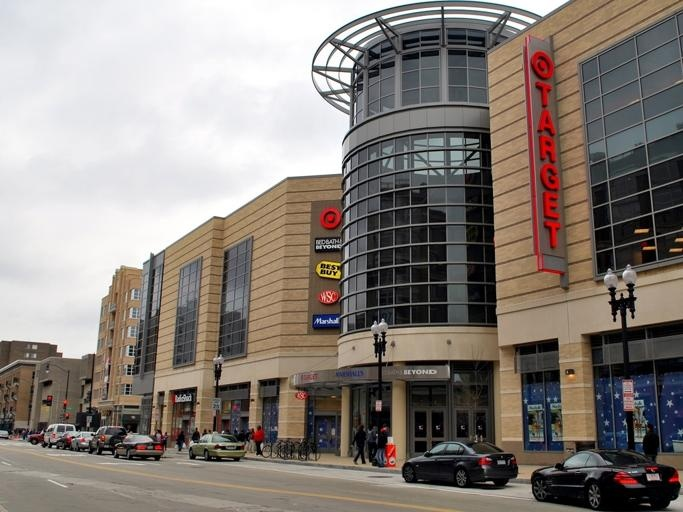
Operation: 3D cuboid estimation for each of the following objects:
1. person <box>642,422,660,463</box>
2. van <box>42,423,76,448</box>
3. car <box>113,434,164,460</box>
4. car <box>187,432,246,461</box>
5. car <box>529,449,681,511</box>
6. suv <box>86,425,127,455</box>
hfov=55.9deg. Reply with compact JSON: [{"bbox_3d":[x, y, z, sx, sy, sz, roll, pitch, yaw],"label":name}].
[{"bbox_3d":[11.508,7.178,23.886,0.692,1.850,0.699,5,14,26],"label":"person"},{"bbox_3d":[-27.346,17.584,61.701,2.719,2.054,4.901,4,-10,-27],"label":"van"},{"bbox_3d":[-12.862,12.126,40.857,1.776,1.639,3.580,16,-26,-36],"label":"car"},{"bbox_3d":[-7.958,12.216,41.306,1.426,1.697,4.305,18,-27,-39],"label":"car"},{"bbox_3d":[7.679,6.612,19.744,2.009,1.118,3.754,6,-16,-17],"label":"car"},{"bbox_3d":[-17.074,13.391,46.814,1.776,1.553,3.559,6,-11,-28],"label":"suv"}]
